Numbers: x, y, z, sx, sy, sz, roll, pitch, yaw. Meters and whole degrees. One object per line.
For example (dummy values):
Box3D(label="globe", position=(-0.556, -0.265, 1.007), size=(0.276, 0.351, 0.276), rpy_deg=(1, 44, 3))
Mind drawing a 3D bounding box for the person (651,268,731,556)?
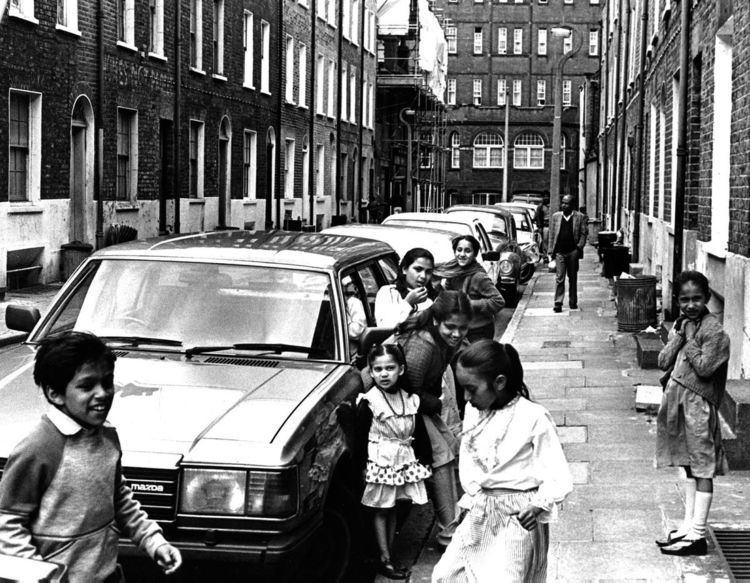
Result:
Box3D(label="person", position=(2.027, 0.770, 5.433), size=(0.431, 1.825, 0.380), rpy_deg=(3, 5, 21))

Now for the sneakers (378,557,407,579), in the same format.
Box3D(label="sneakers", position=(0.107, 1.728, 5.295), size=(0.078, 0.099, 0.213), rpy_deg=(-4, -1, -34))

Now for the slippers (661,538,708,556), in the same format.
Box3D(label="slippers", position=(1.980, 1.623, 5.455), size=(0.276, 0.126, 0.121), rpy_deg=(2, 0, 8))

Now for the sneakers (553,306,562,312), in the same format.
Box3D(label="sneakers", position=(3.698, 0.343, 17.178), size=(0.161, 0.132, 0.229), rpy_deg=(2, 6, 10))

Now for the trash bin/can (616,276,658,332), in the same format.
Box3D(label="trash bin/can", position=(4.390, 0.189, 14.301), size=(0.687, 0.976, 0.869), rpy_deg=(-1, 2, -6))
